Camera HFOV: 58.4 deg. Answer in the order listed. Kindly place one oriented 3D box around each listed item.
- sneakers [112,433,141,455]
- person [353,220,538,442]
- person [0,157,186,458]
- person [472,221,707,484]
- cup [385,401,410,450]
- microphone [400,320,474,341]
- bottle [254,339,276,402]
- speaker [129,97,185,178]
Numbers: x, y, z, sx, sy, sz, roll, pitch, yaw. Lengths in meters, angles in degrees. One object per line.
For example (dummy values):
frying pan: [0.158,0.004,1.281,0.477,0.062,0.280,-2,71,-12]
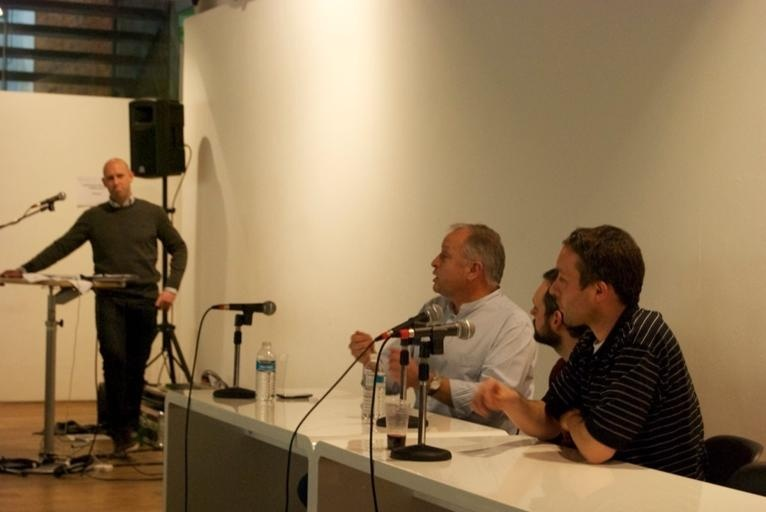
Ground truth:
sneakers: [-1.994,1.452,5.302,0.115,0.156,0.219,-9,-11,38]
person: [0.365,0.462,4.113,0.948,1.574,1.032,7,-8,-20]
person: [-2.087,0.355,5.365,1.006,2.246,0.598,3,2,-20]
person: [0.868,0.684,2.853,0.827,1.496,0.638,-1,-4,33]
cup: [0.047,0.673,2.690,0.116,0.184,0.122,1,-12,0]
microphone: [0.213,0.297,2.754,0.260,0.095,0.089,-6,25,-5]
bottle: [-0.580,0.560,3.406,0.100,0.288,0.199,4,2,-9]
speaker: [-2.070,-1.087,6.245,0.408,0.673,0.386,4,9,14]
